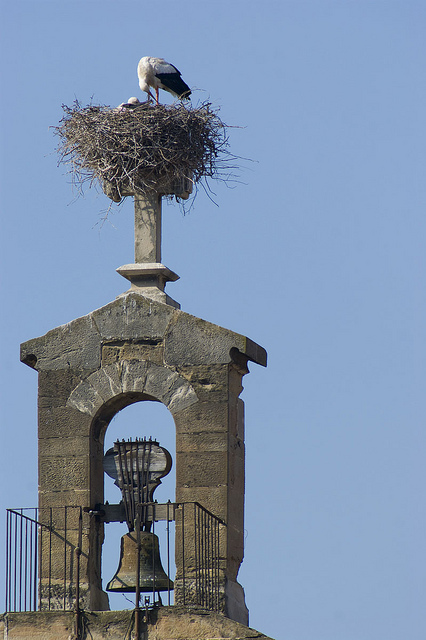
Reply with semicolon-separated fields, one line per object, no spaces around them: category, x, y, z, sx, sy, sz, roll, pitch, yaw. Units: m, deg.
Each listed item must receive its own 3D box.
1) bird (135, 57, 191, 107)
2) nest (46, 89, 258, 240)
bird;-0.464;-2.296;20.203;0.458;0.582;0.312;-2;16;-17
nest;-0.472;-1.527;17.992;1.097;1.053;1.243;-1;5;-24
